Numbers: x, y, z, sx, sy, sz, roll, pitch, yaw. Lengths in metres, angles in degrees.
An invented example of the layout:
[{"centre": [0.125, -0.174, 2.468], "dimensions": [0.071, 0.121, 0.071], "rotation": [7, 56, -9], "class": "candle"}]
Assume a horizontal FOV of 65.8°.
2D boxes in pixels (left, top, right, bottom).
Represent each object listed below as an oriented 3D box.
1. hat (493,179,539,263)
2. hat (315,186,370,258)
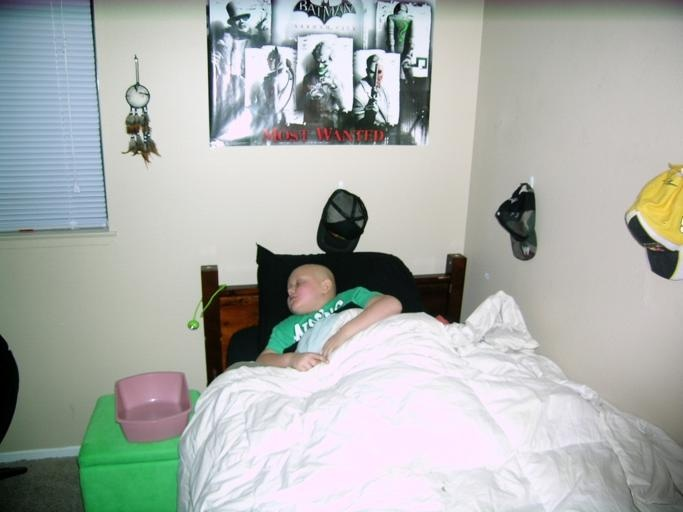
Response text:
[{"centre": [0.846, -0.164, 2.547], "dimensions": [0.122, 0.366, 0.161], "rotation": [-6, 12, -30], "class": "hat"}, {"centre": [-0.005, -0.175, 2.873], "dimensions": [0.243, 0.371, 0.116], "rotation": [16, 14, -27], "class": "hat"}]
